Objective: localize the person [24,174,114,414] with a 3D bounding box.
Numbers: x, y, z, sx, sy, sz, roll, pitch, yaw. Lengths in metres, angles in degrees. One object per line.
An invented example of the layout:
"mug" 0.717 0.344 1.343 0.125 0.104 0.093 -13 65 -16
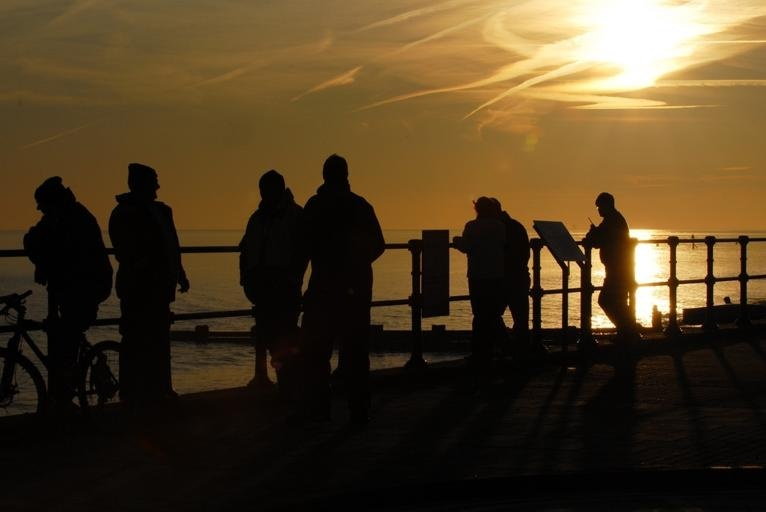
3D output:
"person" -3.090 0.343 11.806 0.772 2.209 0.697 -7 15 -32

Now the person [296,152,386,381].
"person" -0.397 0.165 11.582 0.772 2.276 0.741 1 13 -2

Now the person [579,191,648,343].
"person" 2.937 0.062 15.279 0.746 1.792 0.897 4 13 10

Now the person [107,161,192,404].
"person" -2.375 0.263 11.738 0.636 2.486 0.827 4 13 10

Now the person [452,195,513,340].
"person" 1.170 0.171 14.114 0.610 1.815 0.919 3 13 5
